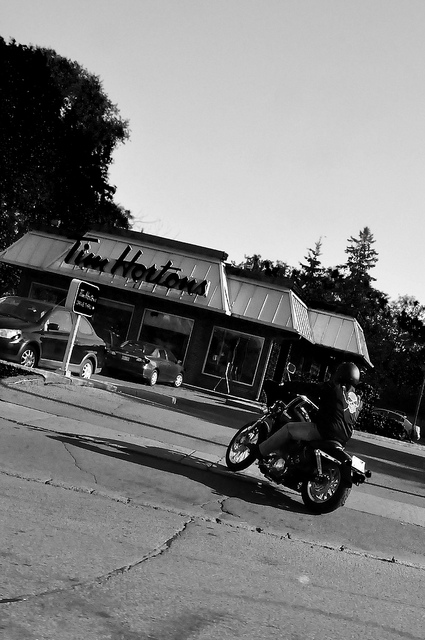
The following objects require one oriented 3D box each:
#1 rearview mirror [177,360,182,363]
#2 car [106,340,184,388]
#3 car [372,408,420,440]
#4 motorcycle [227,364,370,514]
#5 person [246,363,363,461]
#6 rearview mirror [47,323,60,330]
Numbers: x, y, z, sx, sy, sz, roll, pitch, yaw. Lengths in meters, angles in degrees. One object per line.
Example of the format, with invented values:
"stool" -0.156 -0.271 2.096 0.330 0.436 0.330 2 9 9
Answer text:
"rearview mirror" -1.497 1.876 26.253 0.205 0.054 0.208 -3 8 -9
"car" -2.326 1.569 20.832 1.252 1.421 3.535 11 -5 23
"car" 9.830 5.536 30.434 1.921 1.042 7.581 12 -5 20
"motorcycle" 0.972 1.397 6.705 1.015 1.196 1.936 37 -12 -38
"person" 1.088 1.038 6.871 1.443 0.952 0.807 5 -12 44
"rearview mirror" -3.635 0.152 13.347 0.212 0.167 0.363 12 -5 10
